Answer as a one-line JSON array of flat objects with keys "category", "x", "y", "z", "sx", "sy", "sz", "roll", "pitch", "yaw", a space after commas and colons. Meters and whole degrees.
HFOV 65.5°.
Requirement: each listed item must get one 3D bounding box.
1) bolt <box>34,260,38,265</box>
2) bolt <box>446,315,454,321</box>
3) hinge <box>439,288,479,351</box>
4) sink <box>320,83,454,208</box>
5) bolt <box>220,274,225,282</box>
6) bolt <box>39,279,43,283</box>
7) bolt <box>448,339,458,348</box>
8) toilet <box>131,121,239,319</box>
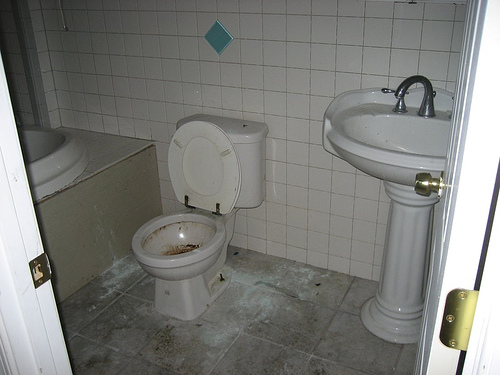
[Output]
[{"category": "bolt", "x": -0.467, "y": 0.162, "z": 0.840, "sx": 0.005, "sy": 0.008, "sz": 0.002, "roll": 12, "pitch": -15, "yaw": -11}, {"category": "bolt", "x": 0.346, "y": 0.226, "z": 0.668, "sx": 0.008, "sy": 0.002, "sz": 0.009, "roll": 19, "pitch": 62, "yaw": 43}, {"category": "hinge", "x": 0.356, "y": 0.224, "z": 0.665, "sx": 0.043, "sy": 0.115, "sz": 0.018, "roll": 10, "pitch": 25, "yaw": 22}, {"category": "sink", "x": 0.646, "y": -0.231, "z": 1.816, "sx": 0.434, "sy": 0.464, "sz": 0.351, "roll": 17, "pitch": 49, "yaw": 27}, {"category": "bolt", "x": -0.179, "y": 0.569, "z": 2.445, "sx": 0.023, "sy": 0.040, "sz": 0.024, "roll": 13, "pitch": 31, "yaw": 33}, {"category": "bolt", "x": -0.463, "y": 0.206, "z": 0.855, "sx": 0.007, "sy": 0.002, "sz": 0.007, "roll": 13, "pitch": 34, "yaw": 18}, {"category": "bolt", "x": 0.358, "y": 0.270, "z": 0.677, "sx": 0.014, "sy": 0.016, "sz": 0.004, "roll": -1, "pitch": -11, "yaw": 14}, {"category": "toilet", "x": -0.343, "y": 0.165, "z": 2.263, "sx": 0.483, "sy": 1.015, "sz": 0.877, "roll": 8, "pitch": 21, "yaw": 17}]
